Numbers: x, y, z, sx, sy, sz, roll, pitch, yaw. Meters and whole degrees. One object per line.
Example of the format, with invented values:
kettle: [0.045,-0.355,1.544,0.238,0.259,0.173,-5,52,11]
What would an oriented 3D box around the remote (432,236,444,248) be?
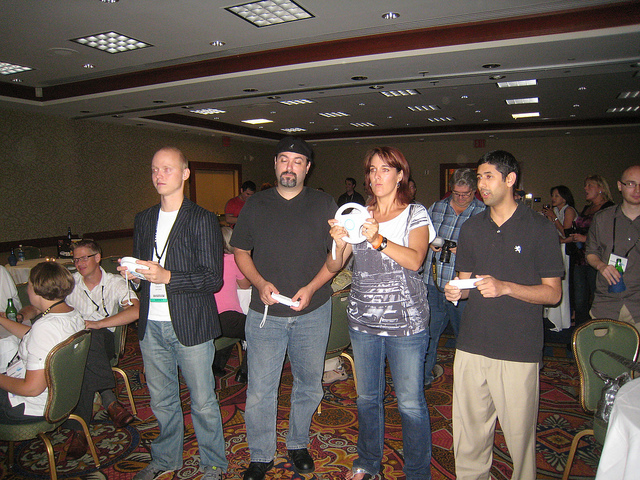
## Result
remote: [0.875,0.006,3.490,0.079,0.057,0.115,0,-12,3]

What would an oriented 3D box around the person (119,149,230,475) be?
person: [-1.014,0.532,3.358,0.626,2.352,0.428,-1,6,-19]

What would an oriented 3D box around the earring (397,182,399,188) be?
earring: [0.524,-0.380,3.207,0.008,0.034,0.028,3,6,20]

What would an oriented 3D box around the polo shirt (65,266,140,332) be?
polo shirt: [-2.079,0.533,4.248,0.926,0.497,0.246,7,24,-26]

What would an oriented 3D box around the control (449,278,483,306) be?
control: [0.908,0.275,2.958,0.130,0.098,0.174,-1,6,-19]

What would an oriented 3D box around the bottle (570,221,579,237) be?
bottle: [3.152,-0.143,5.858,0.052,0.155,0.115,4,-1,24]

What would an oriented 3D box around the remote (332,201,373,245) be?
remote: [0.206,-0.103,3.063,0.277,0.323,0.040,4,5,31]

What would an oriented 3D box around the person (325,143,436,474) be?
person: [0.468,0.543,3.418,0.749,2.403,0.860,2,6,13]

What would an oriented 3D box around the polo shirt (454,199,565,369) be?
polo shirt: [1.229,0.290,3.120,0.643,1.098,0.304,2,6,10]

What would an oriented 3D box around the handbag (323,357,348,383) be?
handbag: [0.137,1.261,4.610,0.331,0.103,0.240,-5,12,-41]

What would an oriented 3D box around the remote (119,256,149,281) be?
remote: [-1.238,0.168,3.130,0.166,0.052,0.132,24,-30,0]

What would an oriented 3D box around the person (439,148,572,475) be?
person: [1.175,0.534,3.066,0.690,2.233,0.453,4,6,26]

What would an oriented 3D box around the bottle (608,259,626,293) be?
bottle: [2.466,0.301,3.910,0.112,0.281,0.083,-1,6,-16]

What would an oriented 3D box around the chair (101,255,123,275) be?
chair: [-2.127,0.256,4.759,0.208,0.297,0.236,1,8,-24]
